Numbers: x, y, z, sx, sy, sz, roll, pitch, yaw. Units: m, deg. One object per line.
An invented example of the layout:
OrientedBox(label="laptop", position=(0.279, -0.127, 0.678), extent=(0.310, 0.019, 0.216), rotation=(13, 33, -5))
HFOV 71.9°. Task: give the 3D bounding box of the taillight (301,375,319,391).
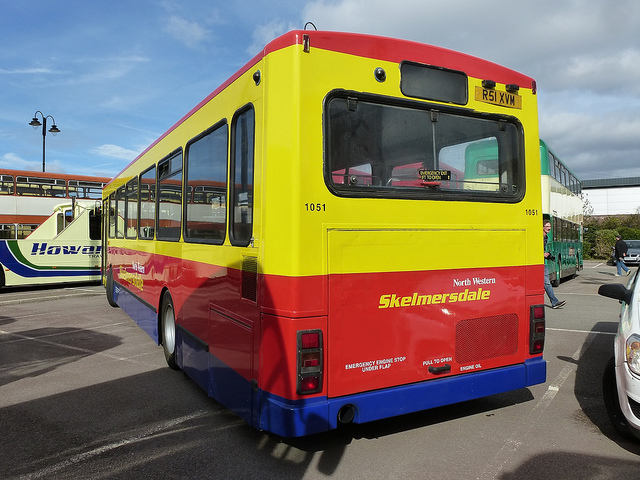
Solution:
OrientedBox(label="taillight", position=(-0.092, 1.361, 4.208), extent=(0.175, 0.138, 0.008), rotation=(-2, 1, -18))

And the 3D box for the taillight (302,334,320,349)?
OrientedBox(label="taillight", position=(-0.094, 0.957, 4.198), extent=(0.128, 0.110, 0.019), rotation=(0, 0, -24))

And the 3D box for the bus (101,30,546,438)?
OrientedBox(label="bus", position=(0.114, -0.088, 5.252), extent=(4.795, 4.018, 2.459), rotation=(0, 2, 23))
